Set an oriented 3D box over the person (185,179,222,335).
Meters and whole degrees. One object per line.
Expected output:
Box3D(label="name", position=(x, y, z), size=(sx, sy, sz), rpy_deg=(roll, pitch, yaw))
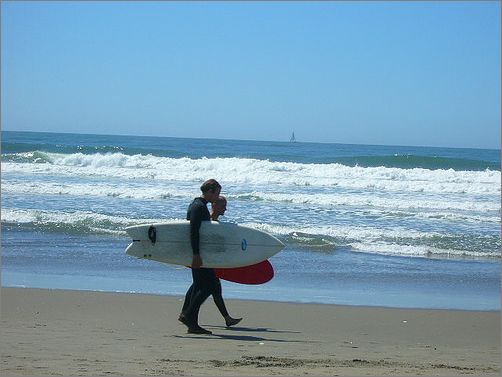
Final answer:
Box3D(label="person", position=(-1.004, 1.377, 21.484), size=(0.639, 3.024, 0.446), rpy_deg=(3, 4, -2))
